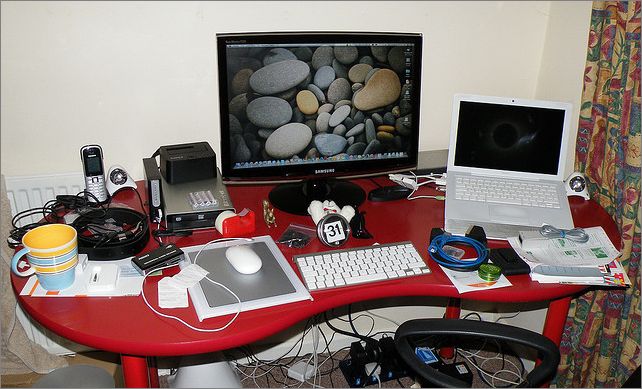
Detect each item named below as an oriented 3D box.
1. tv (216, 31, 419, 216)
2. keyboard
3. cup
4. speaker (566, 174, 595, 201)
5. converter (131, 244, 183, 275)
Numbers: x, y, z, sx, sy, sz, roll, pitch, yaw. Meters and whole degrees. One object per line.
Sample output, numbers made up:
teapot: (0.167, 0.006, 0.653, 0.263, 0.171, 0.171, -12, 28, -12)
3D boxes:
tv: (-0.021, -0.336, 2.062, 0.798, 0.613, 0.110, -4, 25, -12)
keyboard: (0.156, 0.265, 1.870, 0.610, 0.131, 0.334, -1, 1, -11)
cup: (-0.993, 0.234, 1.733, 0.169, 0.229, 0.148, -15, 16, -33)
speaker: (1.223, -0.027, 2.162, 0.119, 0.132, 0.038, 2, 0, 1)
converter: (-0.637, 0.250, 1.824, 0.178, 0.035, 0.112, -23, 34, -39)
